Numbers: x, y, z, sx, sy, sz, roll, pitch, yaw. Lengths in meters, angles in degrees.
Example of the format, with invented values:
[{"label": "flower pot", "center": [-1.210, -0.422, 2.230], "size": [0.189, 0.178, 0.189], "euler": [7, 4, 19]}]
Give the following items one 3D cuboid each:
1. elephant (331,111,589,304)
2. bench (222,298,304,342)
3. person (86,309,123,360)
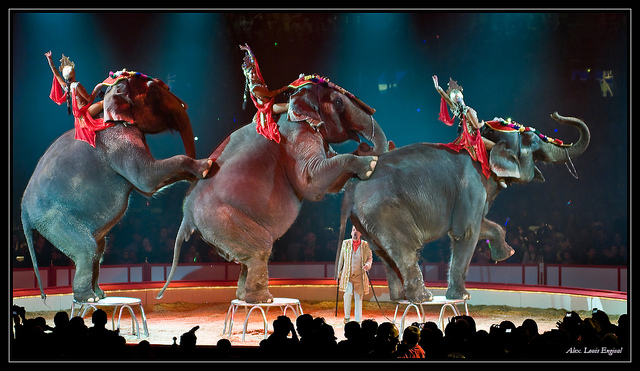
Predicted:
[{"label": "elephant", "center": [2.501, 0.421, 11.787], "size": [5.117, 2.659, 1.639], "euler": [-9, 12, -23]}, {"label": "bench", "center": [-0.875, 2.163, 11.143], "size": [1.388, 0.495, 1.212], "euler": [-1, -14, -11]}, {"label": "person", "center": [-3.056, 2.122, 9.651], "size": [0.530, 0.691, 0.187], "euler": [-1, -14, -3]}]
